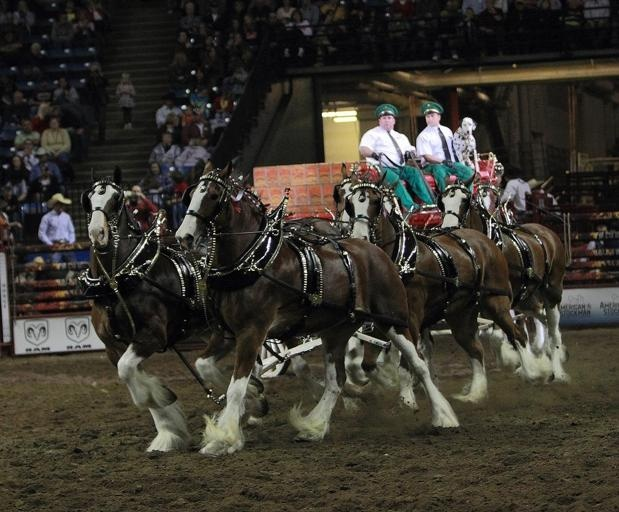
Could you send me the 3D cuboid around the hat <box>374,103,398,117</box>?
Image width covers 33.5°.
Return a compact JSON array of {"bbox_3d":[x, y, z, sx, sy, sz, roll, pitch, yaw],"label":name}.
[{"bbox_3d":[1.197,-2.281,15.995,0.300,0.202,0.459,-3,7,2],"label":"hat"}]
